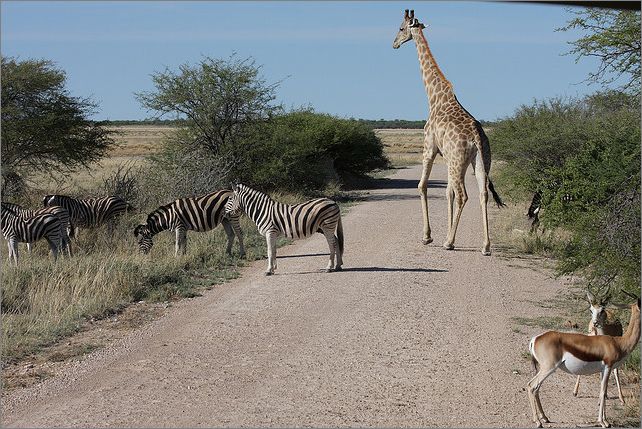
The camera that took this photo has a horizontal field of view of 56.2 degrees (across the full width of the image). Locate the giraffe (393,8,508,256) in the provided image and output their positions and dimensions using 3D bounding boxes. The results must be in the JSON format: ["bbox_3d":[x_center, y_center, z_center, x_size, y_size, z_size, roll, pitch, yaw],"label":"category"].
[{"bbox_3d":[3.580,-2.489,16.922,2.044,6.638,4.074,-1,10,-10],"label":"giraffe"}]

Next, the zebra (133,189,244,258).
[{"bbox_3d":[-2.844,0.234,16.813,4.213,2.552,1.274,-3,-2,-9],"label":"zebra"}]
